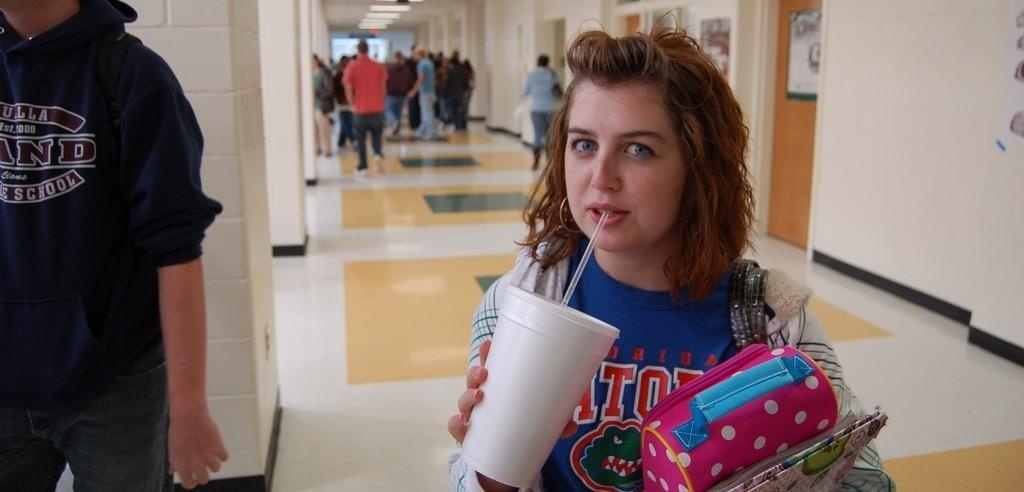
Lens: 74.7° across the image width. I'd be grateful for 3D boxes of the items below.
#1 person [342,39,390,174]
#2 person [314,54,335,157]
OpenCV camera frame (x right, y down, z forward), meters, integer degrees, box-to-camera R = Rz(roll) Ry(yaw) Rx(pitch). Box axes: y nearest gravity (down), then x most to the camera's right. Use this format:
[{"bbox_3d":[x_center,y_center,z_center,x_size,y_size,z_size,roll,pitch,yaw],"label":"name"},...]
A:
[{"bbox_3d":[-1.764,-1.730,8.080,0.511,1.430,0.658,-6,13,-13],"label":"person"},{"bbox_3d":[-2.375,-1.727,8.400,0.228,1.227,0.865,-7,13,-17],"label":"person"}]
